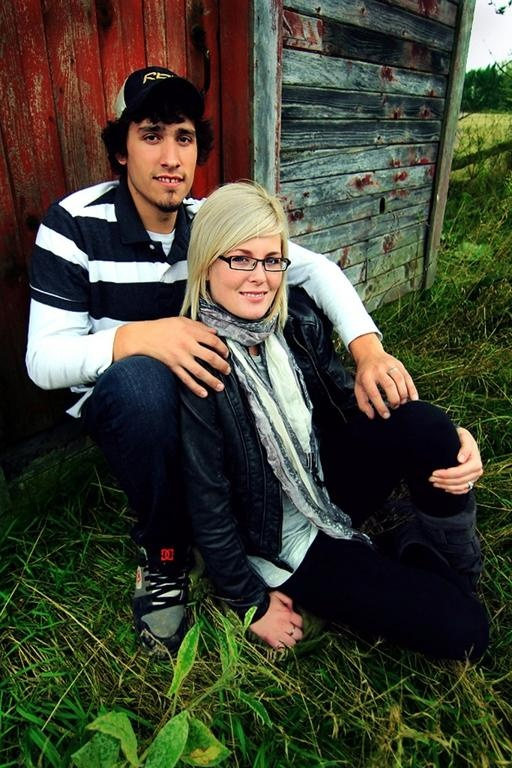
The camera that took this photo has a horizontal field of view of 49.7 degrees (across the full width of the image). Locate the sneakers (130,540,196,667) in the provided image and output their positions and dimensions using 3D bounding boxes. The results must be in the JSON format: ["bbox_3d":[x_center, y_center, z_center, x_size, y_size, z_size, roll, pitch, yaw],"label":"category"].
[{"bbox_3d":[-0.244,0.564,1.455,0.106,0.123,0.311,6,35,-17],"label":"sneakers"}]

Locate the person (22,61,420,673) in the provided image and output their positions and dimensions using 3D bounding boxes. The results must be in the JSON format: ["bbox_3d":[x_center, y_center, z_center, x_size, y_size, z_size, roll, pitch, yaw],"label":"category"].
[{"bbox_3d":[-0.078,-0.144,1.639,1.110,1.386,1.060,0,22,-9],"label":"person"}]

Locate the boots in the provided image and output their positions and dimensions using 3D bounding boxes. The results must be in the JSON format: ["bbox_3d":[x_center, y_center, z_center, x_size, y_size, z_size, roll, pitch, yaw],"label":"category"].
[{"bbox_3d":[0.464,0.398,1.450,0.090,0.217,0.220,-22,-22,21],"label":"boots"}]

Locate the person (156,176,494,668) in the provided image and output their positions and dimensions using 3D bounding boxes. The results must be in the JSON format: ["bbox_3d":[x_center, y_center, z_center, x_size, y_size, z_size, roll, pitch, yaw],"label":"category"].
[{"bbox_3d":[0.206,0.091,1.417,0.796,1.056,0.756,0,29,-4],"label":"person"}]
